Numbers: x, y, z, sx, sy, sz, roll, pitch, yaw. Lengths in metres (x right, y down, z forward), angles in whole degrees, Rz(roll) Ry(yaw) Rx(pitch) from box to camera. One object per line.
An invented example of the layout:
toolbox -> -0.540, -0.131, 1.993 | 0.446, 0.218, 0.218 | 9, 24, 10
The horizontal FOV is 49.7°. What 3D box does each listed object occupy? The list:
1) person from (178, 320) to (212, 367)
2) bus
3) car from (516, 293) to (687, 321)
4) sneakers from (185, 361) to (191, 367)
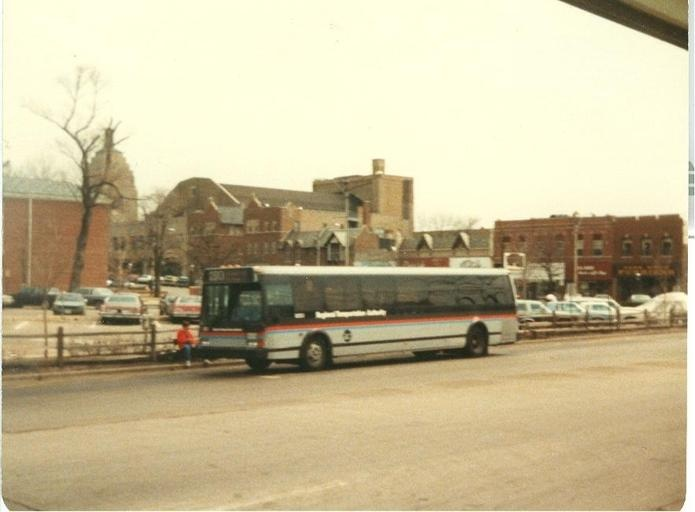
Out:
person -> -5.258, 2.913, 25.336 | 0.919, 1.354, 0.941 | 0, 6, -30
bus -> 0.857, 1.992, 26.726 | 12.642, 3.540, 2.919 | -1, 3, -38
car -> 15.885, 3.224, 47.315 | 7.239, 1.819, 1.988 | 1, -8, -11
sneakers -> -5.386, 3.612, 25.281 | 0.111, 0.136, 0.325 | 0, -10, -20
